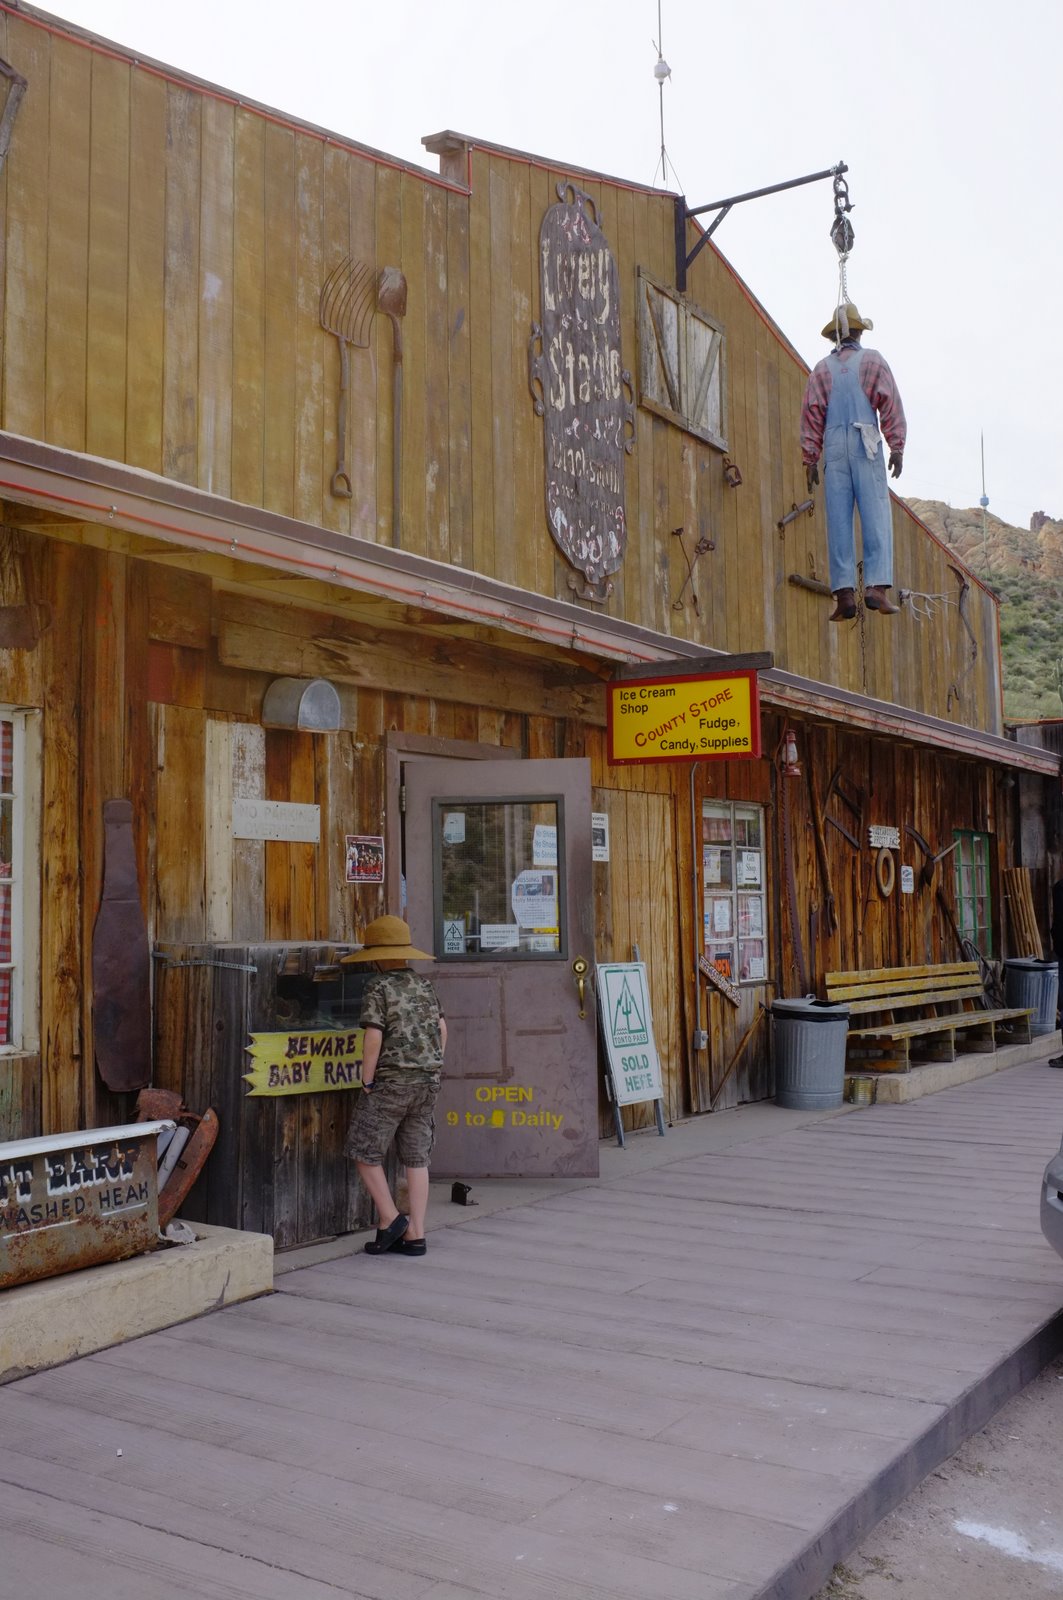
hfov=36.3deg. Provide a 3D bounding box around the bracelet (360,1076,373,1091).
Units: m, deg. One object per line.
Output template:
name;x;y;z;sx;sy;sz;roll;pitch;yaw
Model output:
bracelet;-0.631;1.074;6.144;0.032;0.066;0.054;1;-6;3

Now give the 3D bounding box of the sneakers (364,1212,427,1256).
sneakers;-0.525;1.667;6.197;0.090;0.170;0.300;1;-2;-26

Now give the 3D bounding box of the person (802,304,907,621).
person;2.022;-2.104;10.305;0.498;1.967;0.710;3;-6;-41

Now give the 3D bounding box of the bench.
bench;3.143;1.673;12.935;0.543;0.778;2.391;-7;-7;44

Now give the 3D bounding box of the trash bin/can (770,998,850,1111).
trash bin/can;1.913;1.702;11.093;0.474;0.848;0.464;-2;2;-30

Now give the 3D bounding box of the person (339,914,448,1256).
person;-0.530;1.111;6.343;0.346;1.295;0.628;-1;-5;-4

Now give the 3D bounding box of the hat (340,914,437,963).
hat;-0.633;0.582;6.856;0.222;0.157;0.227;2;3;43
